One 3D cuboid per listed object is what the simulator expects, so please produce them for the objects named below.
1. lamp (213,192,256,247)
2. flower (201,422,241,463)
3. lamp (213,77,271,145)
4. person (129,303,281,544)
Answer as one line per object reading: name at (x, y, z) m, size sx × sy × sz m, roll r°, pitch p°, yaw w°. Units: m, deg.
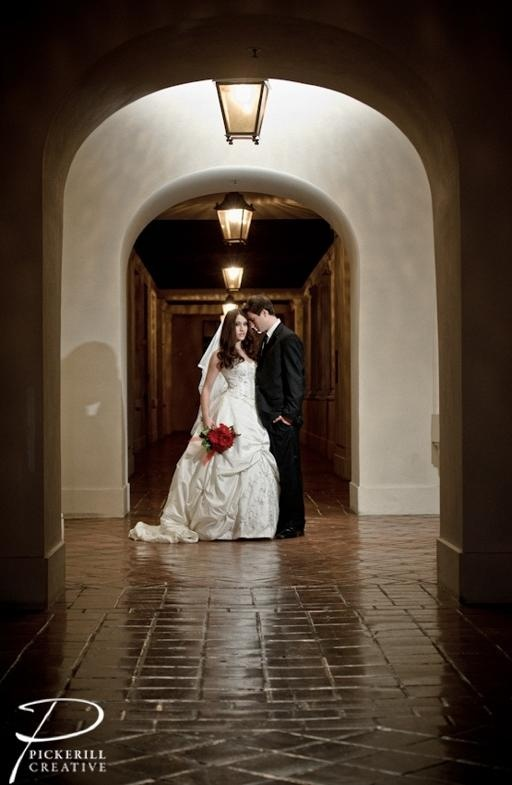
lamp at (-0.290, -2.224, 7.675) m, size 0.525 × 0.663 × 0.556 m, roll -5°, pitch 13°, yaw -34°
flower at (-0.330, 0.468, 5.601) m, size 0.293 × 0.331 × 0.210 m, roll -19°, pitch -25°, yaw 26°
lamp at (-0.109, -2.314, 4.840) m, size 0.461 × 0.510 × 0.513 m, roll 8°, pitch 42°, yaw 9°
person at (-0.347, 0.244, 5.627) m, size 1.114 × 2.182 × 0.867 m, roll 0°, pitch -6°, yaw 2°
